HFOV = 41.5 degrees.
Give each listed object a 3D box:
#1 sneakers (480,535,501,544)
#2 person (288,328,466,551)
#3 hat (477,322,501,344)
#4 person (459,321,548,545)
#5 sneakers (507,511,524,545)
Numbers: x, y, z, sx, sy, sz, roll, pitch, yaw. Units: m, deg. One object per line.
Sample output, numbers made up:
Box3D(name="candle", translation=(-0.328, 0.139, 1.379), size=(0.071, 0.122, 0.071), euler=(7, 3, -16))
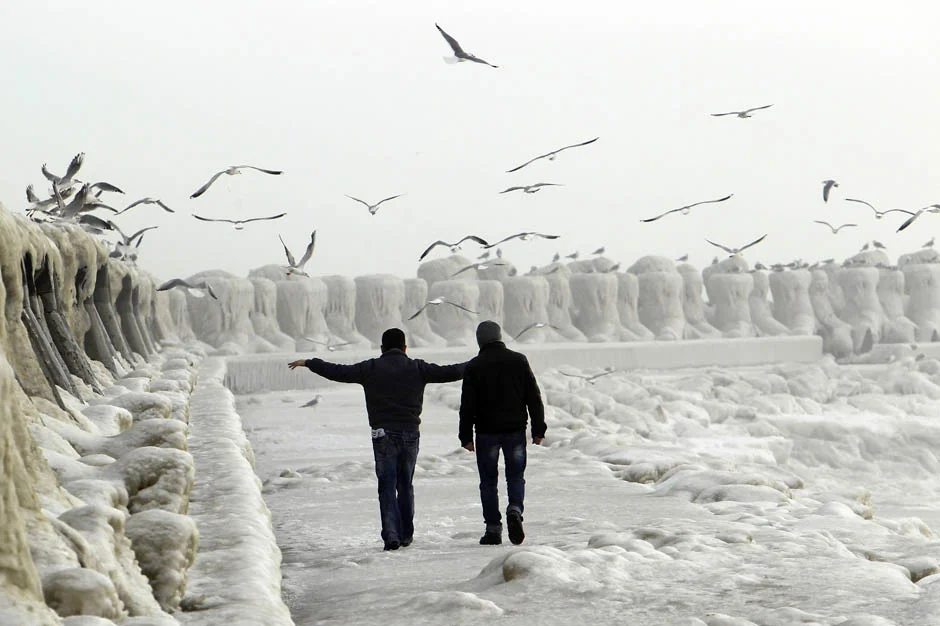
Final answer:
Box3D(name="sneakers", translation=(0.171, 2.017, 11.031), size=(0.188, 0.106, 0.100), euler=(0, 3, 3))
Box3D(name="person", translation=(-0.699, 1.108, 10.987), size=(1.261, 1.928, 0.498), euler=(-1, 3, -2))
Box3D(name="hat", translation=(0.170, 0.178, 11.336), size=(0.188, 0.190, 0.227), euler=(1, 11, 1))
Box3D(name="person", translation=(0.291, 1.071, 11.234), size=(0.771, 1.980, 0.897), euler=(-1, 3, -1))
Box3D(name="sneakers", translation=(0.394, 1.899, 10.918), size=(0.149, 0.291, 0.142), euler=(-4, -4, 4))
